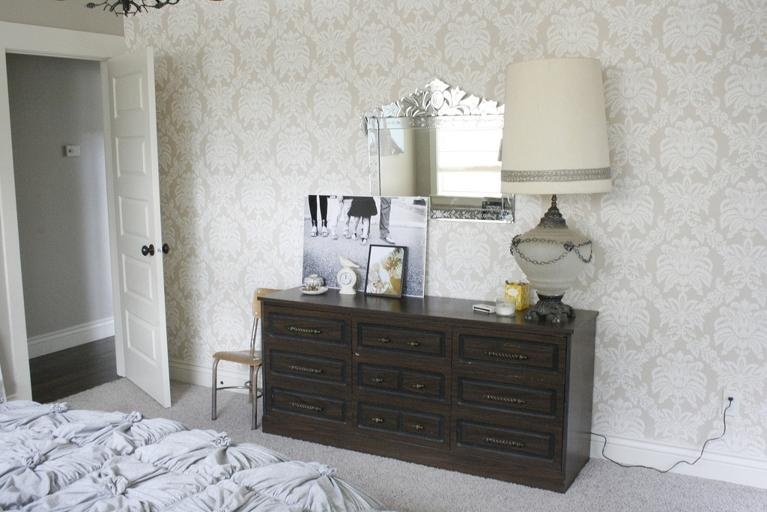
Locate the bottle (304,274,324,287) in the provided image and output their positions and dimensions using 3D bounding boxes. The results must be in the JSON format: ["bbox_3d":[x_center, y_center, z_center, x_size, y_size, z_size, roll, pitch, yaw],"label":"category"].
[{"bbox_3d":[-0.521,0.177,4.556,0.149,0.098,0.223,3,9,-1],"label":"bottle"}]

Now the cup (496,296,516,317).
[{"bbox_3d":[0.783,0.326,3.929,0.110,0.085,0.105,-1,0,0],"label":"cup"}]

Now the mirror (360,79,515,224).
[{"bbox_3d":[0.410,-0.744,4.224,0.962,0.963,0.046,5,14,24],"label":"mirror"}]

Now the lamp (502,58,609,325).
[{"bbox_3d":[1.029,-0.394,3.732,0.670,1.583,0.362,5,10,10],"label":"lamp"}]

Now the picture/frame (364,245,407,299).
[{"bbox_3d":[0.017,0.114,4.396,0.341,0.426,0.028,5,-3,19],"label":"picture/frame"}]
